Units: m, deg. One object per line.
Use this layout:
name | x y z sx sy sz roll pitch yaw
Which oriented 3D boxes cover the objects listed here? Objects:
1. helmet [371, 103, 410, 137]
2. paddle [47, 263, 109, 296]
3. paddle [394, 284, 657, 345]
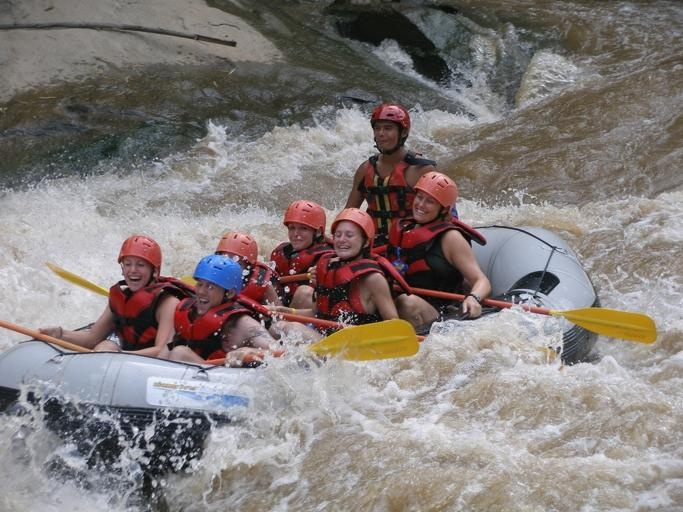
helmet | 0.500 -1.398 9.286 0.371 0.321 0.269 0 39 8
paddle | -2.787 0.258 9.593 0.875 0.108 0.041 21 27 23
paddle | 1.553 0.534 8.188 2.249 0.194 0.262 7 50 3
